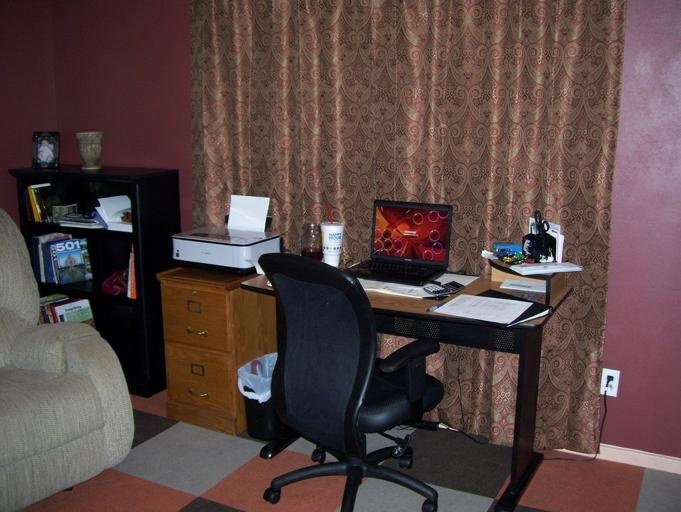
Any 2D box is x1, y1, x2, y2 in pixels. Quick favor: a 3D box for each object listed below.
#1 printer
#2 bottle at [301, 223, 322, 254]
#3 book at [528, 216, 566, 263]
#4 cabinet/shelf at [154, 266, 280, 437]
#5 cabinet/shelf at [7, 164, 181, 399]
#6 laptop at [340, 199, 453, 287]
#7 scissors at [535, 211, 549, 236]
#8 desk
[{"bbox_3d":[-0.701,-0.094,3.645,0.616,0.304,0.354,7,13,22],"label":"printer"},{"bbox_3d":[-0.172,-0.104,3.419,0.148,0.280,0.164,0,5,-5],"label":"bottle"},{"bbox_3d":[1.108,-0.082,3.102,0.066,0.255,0.173,-6,10,-23],"label":"book"},{"bbox_3d":[-0.734,0.518,3.943,0.807,1.292,0.858,5,9,31],"label":"cabinet/shelf"},{"bbox_3d":[-1.531,0.175,3.674,1.229,1.842,0.591,4,10,20],"label":"cabinet/shelf"},{"bbox_3d":[0.378,-0.093,3.321,0.533,0.422,0.462,7,13,28],"label":"laptop"},{"bbox_3d":[1.069,-0.168,3.113,0.074,0.137,0.037,-16,11,-7],"label":"scissors"},{"bbox_3d":[0.445,0.469,3.149,1.888,1.372,1.009,5,7,28],"label":"desk"}]
